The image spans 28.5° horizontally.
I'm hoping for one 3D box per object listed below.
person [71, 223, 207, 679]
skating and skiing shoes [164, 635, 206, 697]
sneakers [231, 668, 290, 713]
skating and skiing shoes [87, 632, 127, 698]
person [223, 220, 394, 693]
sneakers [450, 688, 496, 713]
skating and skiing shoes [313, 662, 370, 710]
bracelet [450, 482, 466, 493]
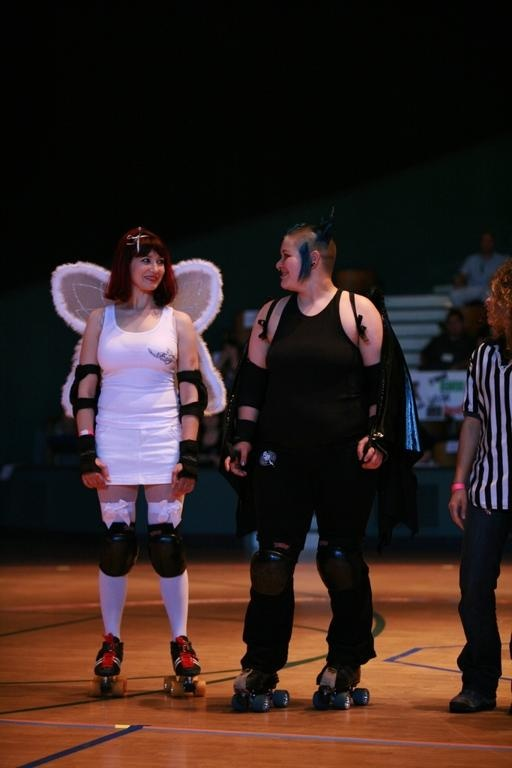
[{"bbox_3d":[-0.351,0.206,3.118,0.425,1.400,0.435,-2,3,-10],"label":"person"},{"bbox_3d":[-0.221,0.845,3.022,0.114,0.148,0.140,-2,3,-18],"label":"skating and skiing shoes"},{"bbox_3d":[0.020,0.863,2.822,0.097,0.085,0.166,-3,-9,30],"label":"sneakers"},{"bbox_3d":[-0.442,0.841,3.015,0.096,0.156,0.173,-2,2,-10],"label":"skating and skiing shoes"},{"bbox_3d":[0.142,0.207,2.901,0.465,1.342,0.348,-1,3,-2],"label":"person"},{"bbox_3d":[0.591,0.852,2.730,0.155,0.049,0.049,15,-29,-36],"label":"sneakers"},{"bbox_3d":[0.240,0.854,2.816,0.097,0.080,0.176,-2,-8,22],"label":"skating and skiing shoes"},{"bbox_3d":[0.579,0.296,2.913,0.047,0.026,0.047,-2,-1,38],"label":"bracelet"}]
